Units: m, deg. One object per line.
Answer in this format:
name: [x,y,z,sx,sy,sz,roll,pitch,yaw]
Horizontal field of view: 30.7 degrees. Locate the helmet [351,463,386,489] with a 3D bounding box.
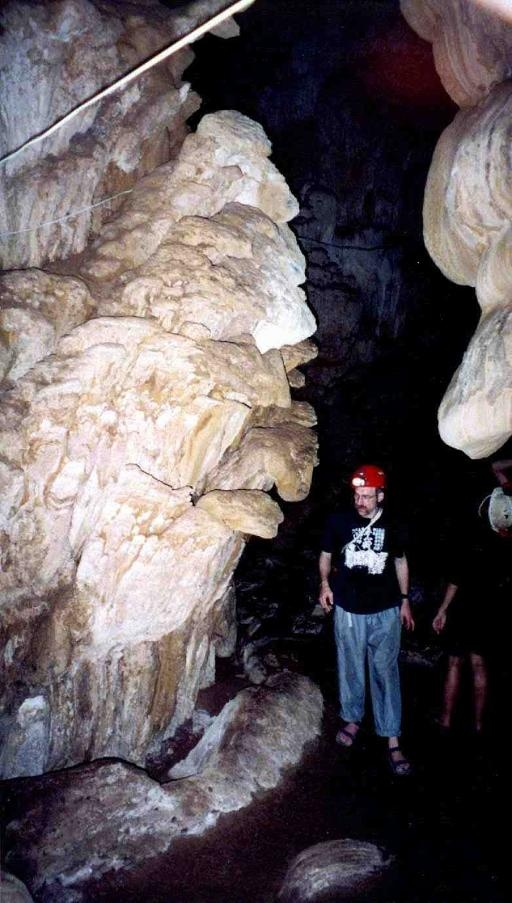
helmet: [0.575,0.130,4.825,0.167,0.127,0.226,-1,4,6]

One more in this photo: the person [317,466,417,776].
person: [0.575,0.863,4.925,0.448,1.603,0.317,0,4,9]

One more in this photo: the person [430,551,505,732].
person: [1.206,1.038,5.318,0.335,1.048,0.461,-1,4,1]
